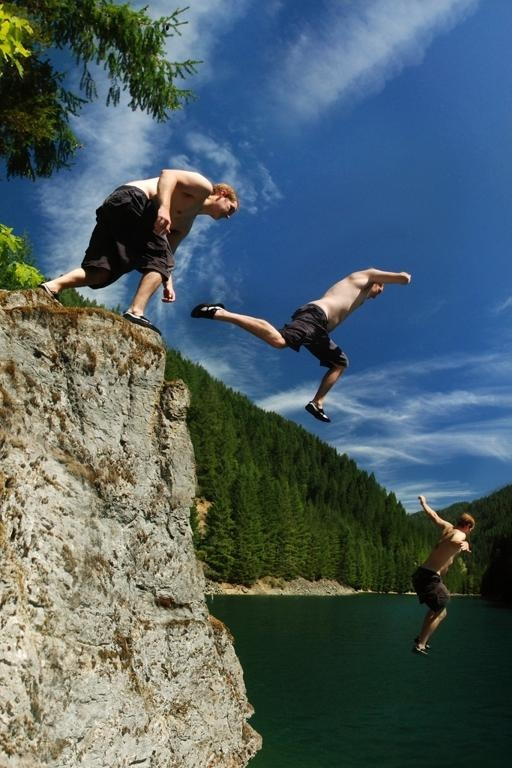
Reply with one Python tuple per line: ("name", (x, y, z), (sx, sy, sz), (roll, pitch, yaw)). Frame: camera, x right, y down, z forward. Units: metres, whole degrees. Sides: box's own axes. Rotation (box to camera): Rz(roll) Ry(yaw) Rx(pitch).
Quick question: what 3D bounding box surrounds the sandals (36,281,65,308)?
("sandals", (-2.463, -1.083, 10.545), (0.275, 0.248, 0.533), (-1, 13, -13))
